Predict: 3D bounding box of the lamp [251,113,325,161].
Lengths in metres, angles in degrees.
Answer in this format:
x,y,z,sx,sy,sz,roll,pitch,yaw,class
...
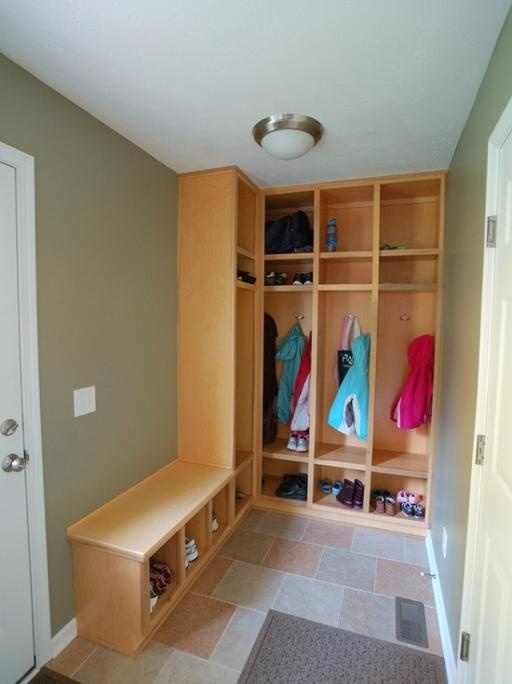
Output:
x,y,z,sx,sy,sz,roll,pitch,yaw,class
0.149,-0.906,2.220,0.328,0.136,0.259,0,7,-5,lamp

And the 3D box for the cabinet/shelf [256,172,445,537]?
x,y,z,sx,sy,sz,roll,pitch,yaw,class
0.573,0.053,3.249,1.144,2.119,0.548,3,6,22,cabinet/shelf

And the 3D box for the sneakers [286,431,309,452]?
x,y,z,sx,sy,sz,roll,pitch,yaw,class
0.282,0.660,3.328,0.067,0.101,0.192,2,5,11,sneakers

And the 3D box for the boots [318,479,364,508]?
x,y,z,sx,sy,sz,roll,pitch,yaw,class
0.566,0.948,3.276,0.104,0.179,0.355,0,3,-14,boots

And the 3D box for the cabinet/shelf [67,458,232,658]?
x,y,z,sx,sy,sz,roll,pitch,yaw,class
-0.486,0.982,2.345,0.389,0.479,0.763,3,7,20,cabinet/shelf

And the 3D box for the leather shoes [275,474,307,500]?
x,y,z,sx,sy,sz,roll,pitch,yaw,class
0.243,0.964,3.316,0.162,0.069,0.129,2,5,38,leather shoes

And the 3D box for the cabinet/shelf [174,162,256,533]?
x,y,z,sx,sy,sz,roll,pitch,yaw,class
-0.240,0.030,3.061,0.388,2.052,0.522,2,6,16,cabinet/shelf

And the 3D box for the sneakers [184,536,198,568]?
x,y,z,sx,sy,sz,roll,pitch,yaw,class
-0.327,1.059,2.503,0.040,0.062,0.118,-7,1,-37,sneakers

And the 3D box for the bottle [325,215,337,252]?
x,y,z,sx,sy,sz,roll,pitch,yaw,class
0.476,-0.675,3.135,0.055,0.211,0.096,2,6,14,bottle

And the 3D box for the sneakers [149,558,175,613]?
x,y,z,sx,sy,sz,roll,pitch,yaw,class
-0.445,1.084,2.254,0.137,0.061,0.102,18,7,25,sneakers
